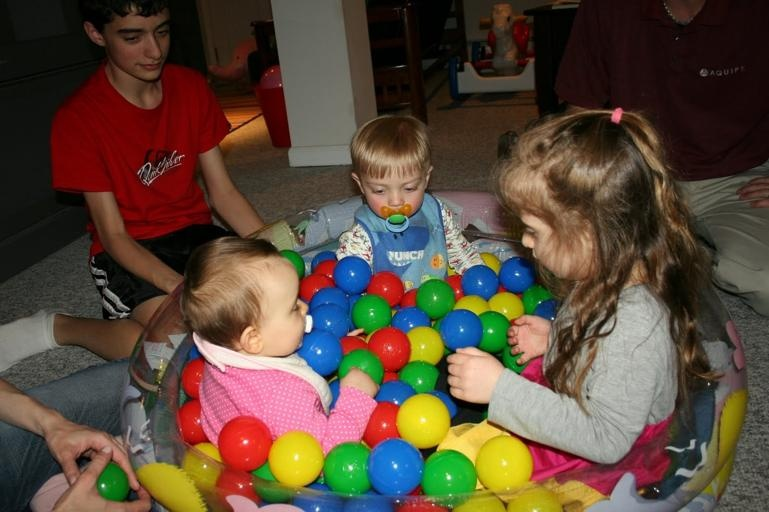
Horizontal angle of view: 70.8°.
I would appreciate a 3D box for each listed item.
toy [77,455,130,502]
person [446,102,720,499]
[{"bbox_3d":[-0.672,0.551,1.324,0.086,0.081,0.097,-29,83,-8],"label":"toy"},{"bbox_3d":[0.530,-0.008,1.702,0.839,1.114,0.805,2,26,33],"label":"person"}]
